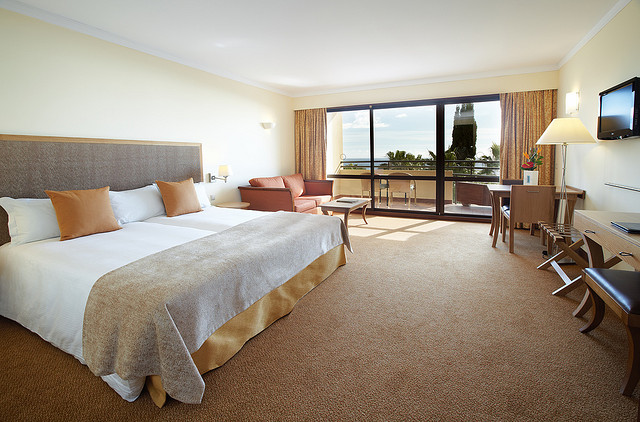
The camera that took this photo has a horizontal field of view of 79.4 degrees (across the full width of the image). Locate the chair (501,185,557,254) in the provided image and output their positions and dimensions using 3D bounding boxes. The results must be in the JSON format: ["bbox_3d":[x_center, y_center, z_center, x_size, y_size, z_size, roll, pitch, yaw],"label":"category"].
[{"bbox_3d":[3.269,0.286,5.963,0.678,1.098,0.779,-3,-32,36],"label":"chair"}]

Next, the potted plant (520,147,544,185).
[{"bbox_3d":[3.584,-0.736,6.507,0.383,0.650,0.316,-4,6,20],"label":"potted plant"}]

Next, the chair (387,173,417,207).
[{"bbox_3d":[1.833,-0.479,8.771,0.654,1.005,0.727,3,11,26],"label":"chair"}]

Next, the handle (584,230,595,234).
[{"bbox_3d":[2.846,0.218,4.061,0.023,0.020,0.080,27,0,-7],"label":"handle"}]
